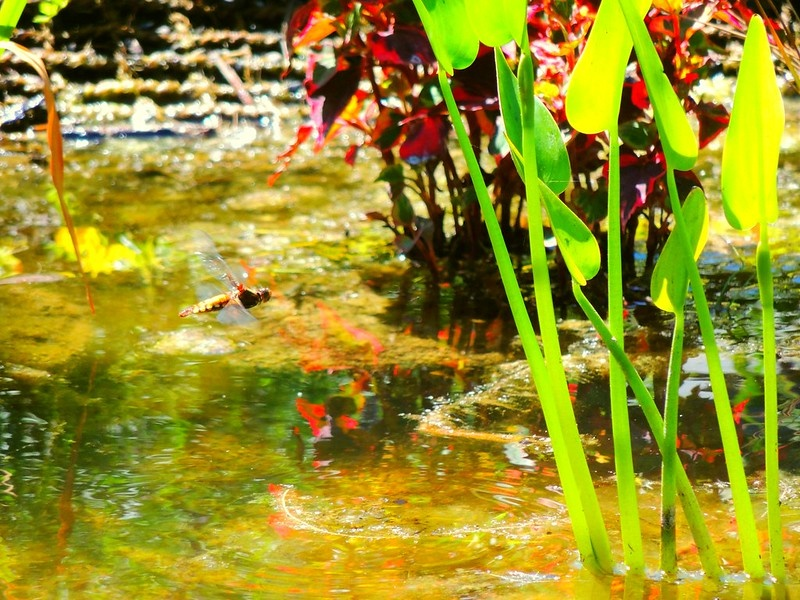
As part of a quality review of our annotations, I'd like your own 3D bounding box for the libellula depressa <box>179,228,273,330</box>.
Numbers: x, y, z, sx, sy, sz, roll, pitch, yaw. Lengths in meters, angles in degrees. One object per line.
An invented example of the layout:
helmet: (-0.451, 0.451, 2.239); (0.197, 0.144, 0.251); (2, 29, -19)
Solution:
libellula depressa: (-0.435, -0.004, 2.311); (0.205, 0.069, 0.279); (-11, -41, 11)
